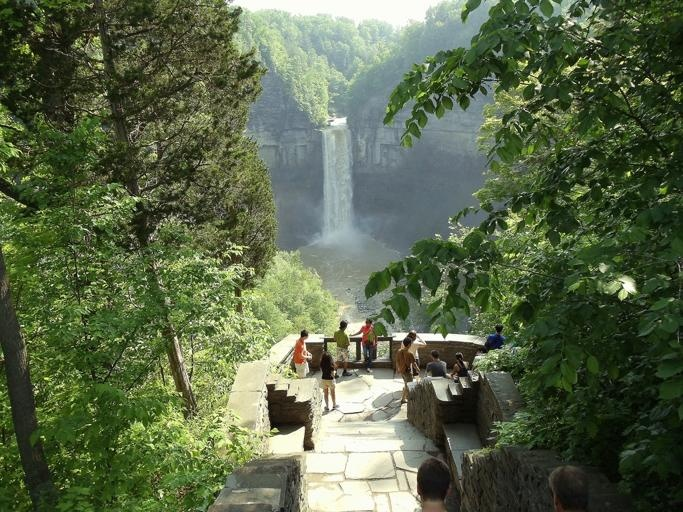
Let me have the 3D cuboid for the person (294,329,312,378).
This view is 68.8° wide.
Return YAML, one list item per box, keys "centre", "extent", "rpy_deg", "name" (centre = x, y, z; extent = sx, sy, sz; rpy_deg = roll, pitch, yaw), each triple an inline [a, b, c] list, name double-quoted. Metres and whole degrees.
- centre: [-0.884, 2.256, 11.375]
  extent: [0.504, 0.531, 1.496]
  rpy_deg: [-9, -32, -10]
  name: "person"

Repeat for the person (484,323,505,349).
- centre: [2.889, 1.549, 9.536]
  extent: [0.408, 0.467, 1.030]
  rpy_deg: [-10, -9, 16]
  name: "person"
